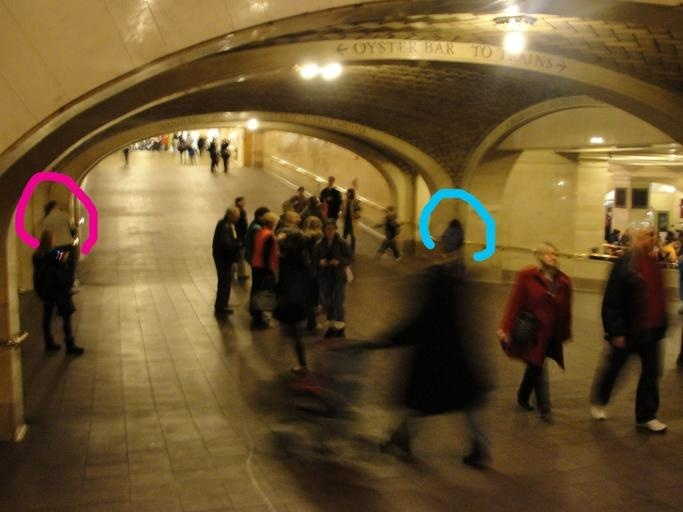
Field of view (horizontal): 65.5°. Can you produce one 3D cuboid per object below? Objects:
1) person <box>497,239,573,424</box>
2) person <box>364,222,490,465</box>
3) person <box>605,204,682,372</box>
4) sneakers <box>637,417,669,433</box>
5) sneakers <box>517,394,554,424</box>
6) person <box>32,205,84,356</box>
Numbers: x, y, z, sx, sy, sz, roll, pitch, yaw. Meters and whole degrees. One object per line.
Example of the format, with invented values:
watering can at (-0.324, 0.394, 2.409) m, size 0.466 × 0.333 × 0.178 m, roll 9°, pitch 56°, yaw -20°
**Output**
person at (1.889, 0.717, 5.140) m, size 0.723 × 1.666 × 0.400 m, roll 1°, pitch 5°, yaw 11°
person at (0.707, 0.629, 3.616) m, size 0.545 × 1.787 × 0.804 m, roll 4°, pitch 6°, yaw 38°
person at (2.790, 0.281, 4.974) m, size 0.644 × 1.119 × 0.361 m, roll -2°, pitch 5°, yaw -20°
sneakers at (2.892, 1.548, 4.877) m, size 0.213 × 0.088 × 0.120 m, roll -5°, pitch 4°, yaw 43°
sneakers at (1.917, 1.497, 5.216) m, size 0.382 × 0.173 × 0.117 m, roll 15°, pitch 13°, yaw 42°
person at (-3.786, 0.300, 7.059) m, size 0.553 × 2.052 × 0.744 m, roll -2°, pitch 5°, yaw -28°
